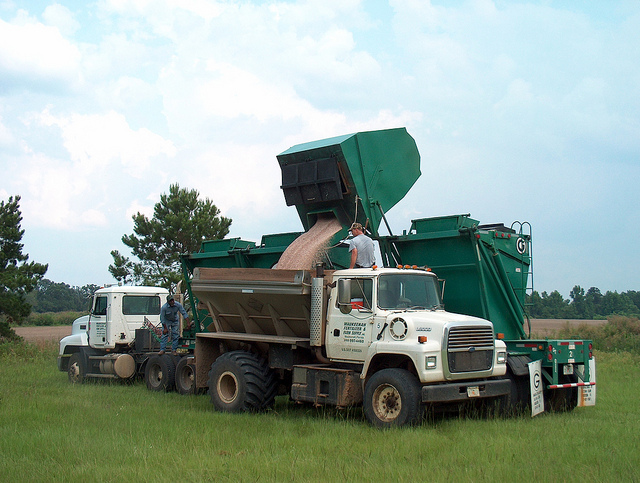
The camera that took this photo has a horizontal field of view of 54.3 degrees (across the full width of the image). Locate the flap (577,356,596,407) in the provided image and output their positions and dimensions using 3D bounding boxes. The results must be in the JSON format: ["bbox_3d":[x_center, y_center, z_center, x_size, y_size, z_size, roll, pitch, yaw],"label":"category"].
[{"bbox_3d":[5.894,3.077,13.745,0.625,1.057,0.248,7,-10,-33],"label":"flap"}]

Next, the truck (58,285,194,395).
[{"bbox_3d":[-5.600,3.072,20.168,5.674,3.188,2.612,-2,-5,23],"label":"truck"}]

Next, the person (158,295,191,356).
[{"bbox_3d":[-4.333,2.589,18.614,1.016,2.289,0.864,10,-27,-37],"label":"person"}]

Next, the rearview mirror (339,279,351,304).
[{"bbox_3d":[0.501,0.993,12.365,0.228,0.496,0.289,1,-9,2],"label":"rearview mirror"}]

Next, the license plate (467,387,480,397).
[{"bbox_3d":[2.885,2.834,11.712,0.254,0.222,0.155,0,-1,-26],"label":"license plate"}]

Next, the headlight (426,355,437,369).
[{"bbox_3d":[2.026,2.218,11.404,0.225,0.272,0.070,0,-1,-30],"label":"headlight"}]

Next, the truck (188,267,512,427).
[{"bbox_3d":[0.437,2.104,13.553,5.988,3.377,3.557,-9,-10,42],"label":"truck"}]

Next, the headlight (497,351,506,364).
[{"bbox_3d":[3.625,2.314,12.467,0.148,0.259,0.075,-1,-2,-8],"label":"headlight"}]

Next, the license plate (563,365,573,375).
[{"bbox_3d":[5.392,2.798,13.537,0.171,0.209,0.135,-1,12,4],"label":"license plate"}]
